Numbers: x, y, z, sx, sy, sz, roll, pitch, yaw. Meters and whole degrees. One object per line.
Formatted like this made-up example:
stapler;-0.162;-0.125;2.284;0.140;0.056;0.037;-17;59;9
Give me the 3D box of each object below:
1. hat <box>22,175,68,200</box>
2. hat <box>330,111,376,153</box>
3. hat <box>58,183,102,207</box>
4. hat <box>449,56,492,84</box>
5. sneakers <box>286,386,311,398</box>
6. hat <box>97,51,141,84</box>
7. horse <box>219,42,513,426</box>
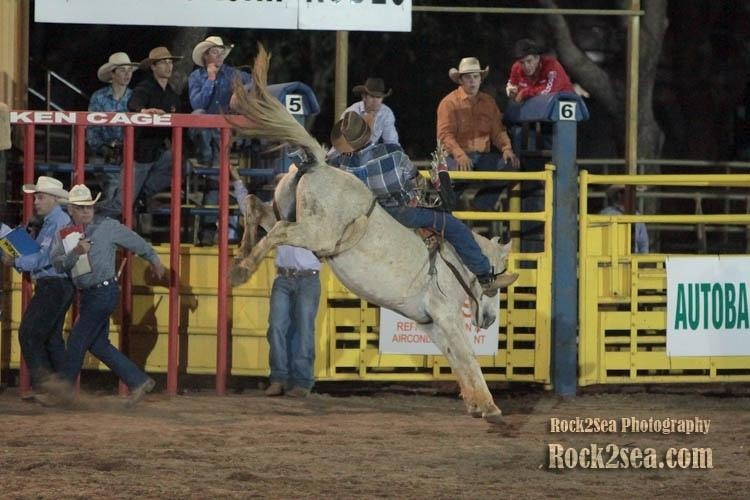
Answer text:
hat;-4.760;-0.883;24.745;0.477;0.193;0.518;3;3;-14
hat;-0.254;-1.575;23.523;0.495;0.584;0.229;37;-5;23
hat;-4.279;-0.776;24.978;0.513;0.229;0.575;-3;1;-20
hat;1.439;-2.797;26.886;0.550;0.223;0.598;-3;-4;1
sneakers;-1.075;2.033;24.816;0.388;0.156;0.126;7;1;-12
hat;-3.964;-2.718;25.911;0.542;0.238;0.621;-11;-4;-34
horse;-0.126;0.233;23.854;1.428;3.761;6.571;-21;-36;29
